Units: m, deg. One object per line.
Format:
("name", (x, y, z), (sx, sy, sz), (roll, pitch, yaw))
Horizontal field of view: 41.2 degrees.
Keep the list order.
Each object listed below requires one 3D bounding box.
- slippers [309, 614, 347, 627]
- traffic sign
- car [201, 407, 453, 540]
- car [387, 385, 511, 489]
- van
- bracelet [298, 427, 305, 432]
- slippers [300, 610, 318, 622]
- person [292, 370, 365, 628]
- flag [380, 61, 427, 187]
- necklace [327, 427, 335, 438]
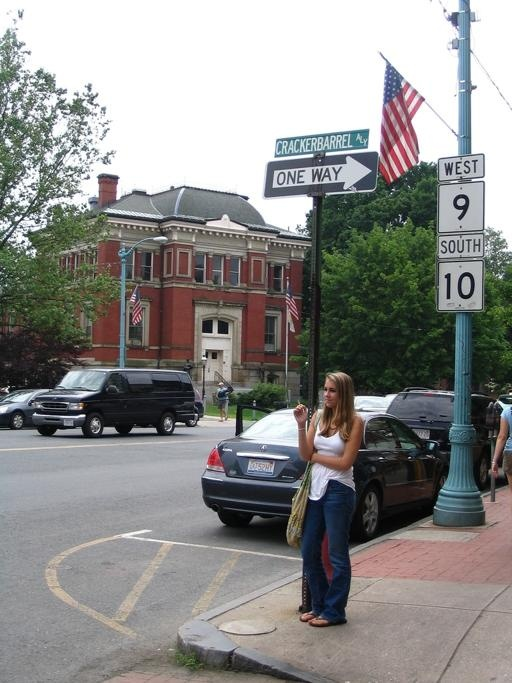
("slippers", (0.417, 1.612, 3.956), (0.190, 0.046, 0.069), (7, -17, -11))
("traffic sign", (0.446, -1.253, 4.861), (0.930, 0.537, 0.214), (-1, -2, 44))
("car", (1.222, 1.566, 8.734), (1.463, 0.946, 3.247), (-2, -4, 39))
("car", (3.974, 1.720, 13.757), (1.652, 1.483, 3.460), (4, 1, 37))
("van", (-4.694, 2.111, 23.788), (2.543, 1.703, 4.789), (-7, -9, 42))
("bracelet", (0.264, 0.517, 4.023), (0.032, 0.028, 0.051), (0, -2, 4))
("slippers", (0.308, 1.628, 4.050), (0.049, 0.047, 0.126), (0, -14, 12))
("person", (0.428, 0.928, 4.087), (0.386, 1.483, 0.333), (0, -2, 8))
("flag", (2.639, -4.073, 12.544), (0.732, 2.326, 0.587), (0, -2, 9))
("necklace", (0.440, 0.544, 4.064), (0.037, 0.043, 0.045), (-2, 4, -16))
